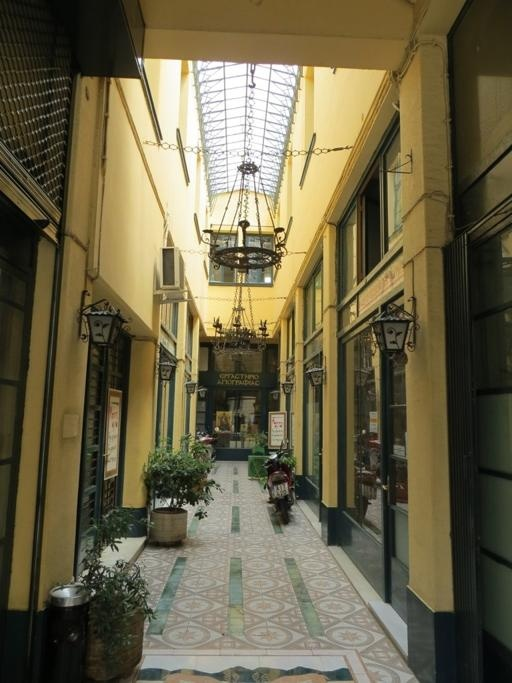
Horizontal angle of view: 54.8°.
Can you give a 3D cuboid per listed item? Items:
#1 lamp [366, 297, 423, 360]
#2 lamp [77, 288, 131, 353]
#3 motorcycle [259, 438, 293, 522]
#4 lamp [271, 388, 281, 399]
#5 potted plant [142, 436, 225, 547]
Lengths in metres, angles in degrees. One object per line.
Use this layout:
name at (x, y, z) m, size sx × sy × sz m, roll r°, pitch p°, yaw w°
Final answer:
lamp at (0.906, -0.101, 3.422) m, size 0.323 × 0.631 × 0.305 m, roll 2°, pitch -2°, yaw 3°
lamp at (-1.094, -0.155, 3.512) m, size 0.316 × 0.602 × 0.325 m, roll -1°, pitch -6°, yaw -3°
motorcycle at (0.433, 2.307, 8.344) m, size 0.443 × 0.898 × 1.381 m, roll -12°, pitch -2°, yaw -3°
lamp at (0.649, 1.652, 15.912) m, size 0.327 × 0.434 × 0.377 m, roll 1°, pitch 3°, yaw -1°
potted plant at (-0.965, 1.920, 6.588) m, size 0.682 × 1.203 × 0.746 m, roll 0°, pitch -10°, yaw 22°
